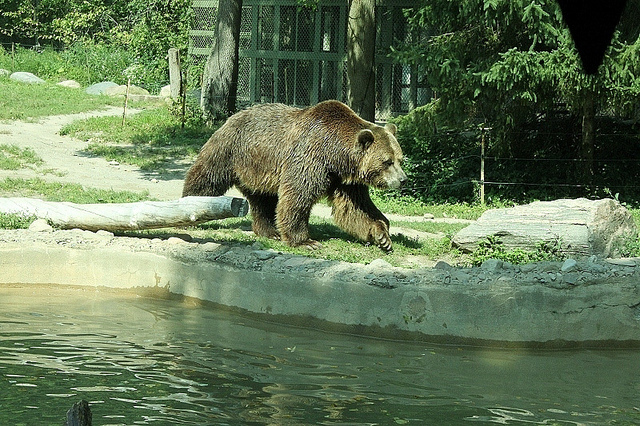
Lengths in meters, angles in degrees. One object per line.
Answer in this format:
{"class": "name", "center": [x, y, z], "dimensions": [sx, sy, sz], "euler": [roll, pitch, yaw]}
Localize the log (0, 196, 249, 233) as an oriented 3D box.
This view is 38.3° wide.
{"class": "log", "center": [-3.310, -0.007, 15.728], "dimensions": [4.440, 0.705, 0.274], "euler": [3, 3, 17]}
